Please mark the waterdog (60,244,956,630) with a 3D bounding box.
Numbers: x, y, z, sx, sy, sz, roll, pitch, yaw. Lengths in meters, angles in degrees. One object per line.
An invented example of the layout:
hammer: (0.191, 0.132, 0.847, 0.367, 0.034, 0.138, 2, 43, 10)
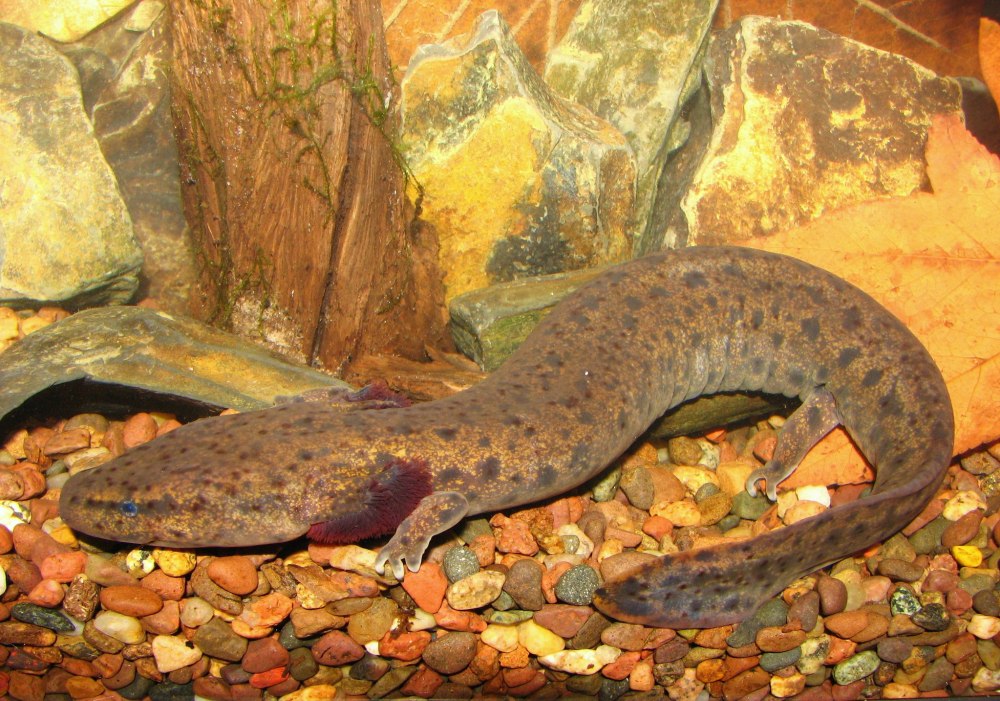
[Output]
waterdog: (0.368, 0.341, 5.659, 4.332, 1.967, 1.208, 5, 6, 0)
